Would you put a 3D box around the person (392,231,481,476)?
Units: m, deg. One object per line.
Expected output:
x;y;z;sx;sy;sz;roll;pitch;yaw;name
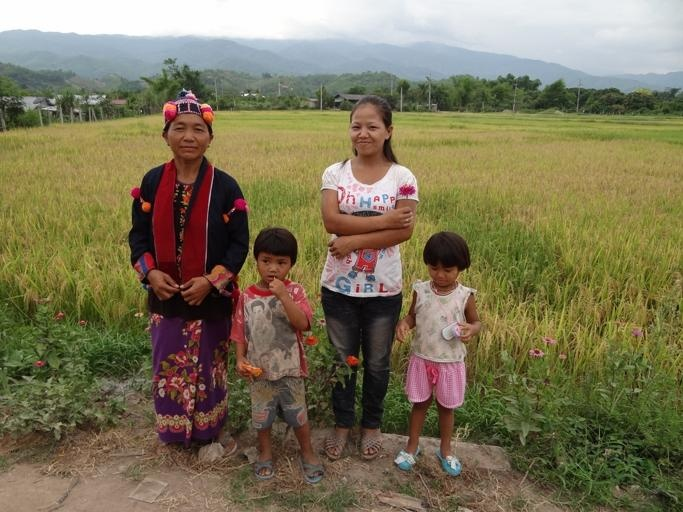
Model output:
0.735;0.704;3.803;0.615;1.755;0.666;2;16;7;person

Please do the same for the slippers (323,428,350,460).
-0.034;1.465;3.888;0.127;0.076;0.275;2;0;11;slippers

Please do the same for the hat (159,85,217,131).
-1.203;-1.116;3.820;0.382;0.311;0.290;-2;4;36;hat

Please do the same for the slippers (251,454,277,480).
-0.575;1.578;3.714;0.150;0.109;0.297;3;-2;-13;slippers

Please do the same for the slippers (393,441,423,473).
0.488;1.526;3.780;0.119;0.079;0.194;-1;18;41;slippers

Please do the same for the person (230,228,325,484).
-0.483;0.727;3.640;0.593;1.802;0.637;-4;17;-13;person

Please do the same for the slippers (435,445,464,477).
0.811;1.562;3.790;0.108;0.064;0.184;-7;19;-13;slippers

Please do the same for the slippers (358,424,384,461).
0.230;1.460;3.875;0.205;0.180;0.501;0;-5;-1;slippers
